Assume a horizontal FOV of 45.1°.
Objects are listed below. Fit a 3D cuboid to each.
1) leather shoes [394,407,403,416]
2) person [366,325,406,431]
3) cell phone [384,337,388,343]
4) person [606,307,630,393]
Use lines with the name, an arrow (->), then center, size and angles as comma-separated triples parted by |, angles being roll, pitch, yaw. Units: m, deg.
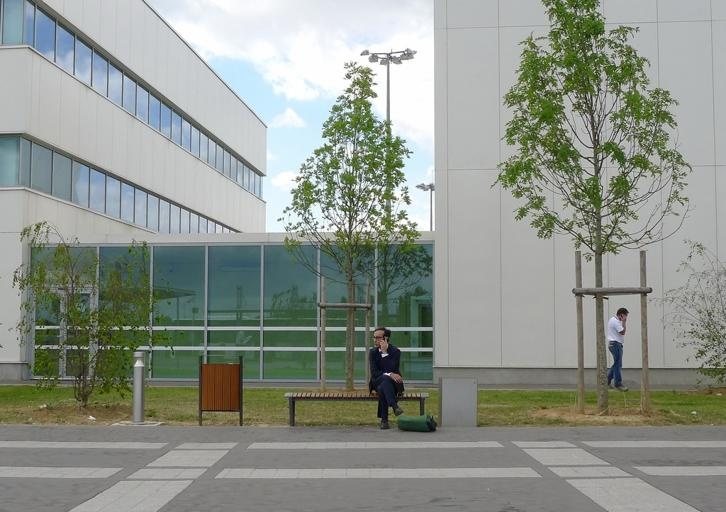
leather shoes -> 0.762, 3.260, 18.389 | 0.152, 0.163, 0.183 | -2, -5, -34
person -> 0.507, 2.598, 18.786 | 0.739, 2.137, 0.841 | -1, -7, 0
cell phone -> 0.518, 1.839, 19.119 | 0.078, 0.146, 0.146 | 1, -7, -2
person -> 7.256, 2.672, 24.908 | 0.622, 2.300, 0.983 | -3, -7, 10
